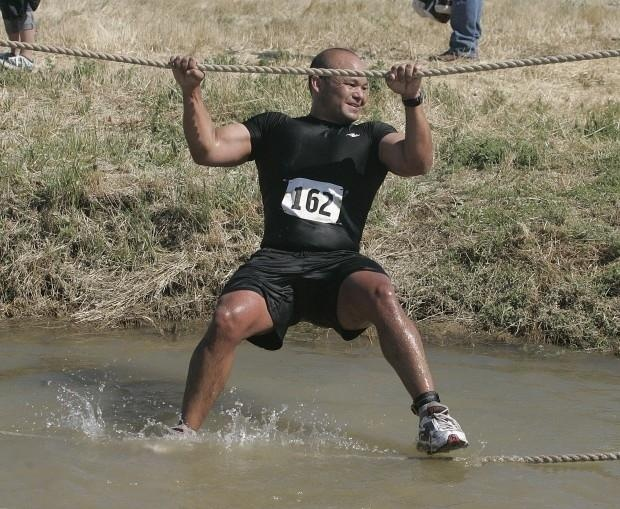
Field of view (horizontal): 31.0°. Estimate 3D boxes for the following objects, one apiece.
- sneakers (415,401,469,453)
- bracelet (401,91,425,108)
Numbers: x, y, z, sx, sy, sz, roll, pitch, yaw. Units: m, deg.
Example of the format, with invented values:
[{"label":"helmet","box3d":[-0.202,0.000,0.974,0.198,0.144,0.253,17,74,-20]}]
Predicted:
[{"label":"sneakers","box3d":[0.866,1.147,7.351,0.218,0.202,0.431,-4,-8,-21]},{"label":"bracelet","box3d":[0.736,-1.111,8.012,0.147,0.096,0.213,6,17,2]}]
